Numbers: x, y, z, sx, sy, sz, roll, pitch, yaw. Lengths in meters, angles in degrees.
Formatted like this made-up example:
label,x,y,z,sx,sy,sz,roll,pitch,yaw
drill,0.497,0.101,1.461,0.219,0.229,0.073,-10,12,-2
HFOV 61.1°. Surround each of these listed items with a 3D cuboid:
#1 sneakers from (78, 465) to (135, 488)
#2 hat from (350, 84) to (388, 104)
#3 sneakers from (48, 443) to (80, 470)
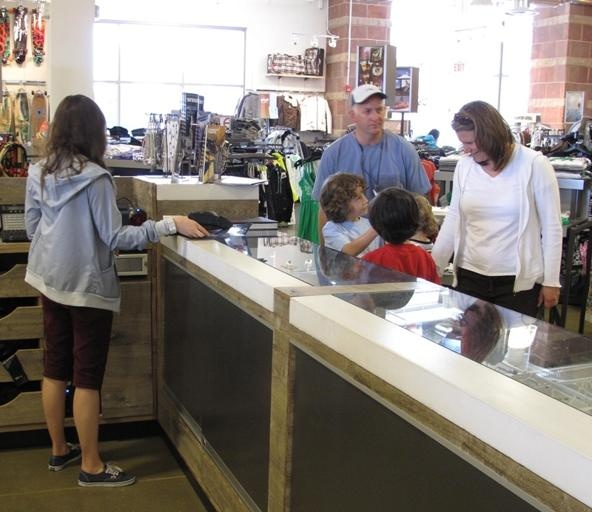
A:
label,x,y,z,sx,sy,sz,roll,pitch,yaw
sneakers,-0.971,1.135,2.633,0.289,0.133,0.119,0,1,-14
hat,0.416,-0.967,3.064,0.118,0.073,0.176,-11,8,-10
sneakers,-1.275,1.117,2.790,0.074,0.099,0.216,3,12,19
